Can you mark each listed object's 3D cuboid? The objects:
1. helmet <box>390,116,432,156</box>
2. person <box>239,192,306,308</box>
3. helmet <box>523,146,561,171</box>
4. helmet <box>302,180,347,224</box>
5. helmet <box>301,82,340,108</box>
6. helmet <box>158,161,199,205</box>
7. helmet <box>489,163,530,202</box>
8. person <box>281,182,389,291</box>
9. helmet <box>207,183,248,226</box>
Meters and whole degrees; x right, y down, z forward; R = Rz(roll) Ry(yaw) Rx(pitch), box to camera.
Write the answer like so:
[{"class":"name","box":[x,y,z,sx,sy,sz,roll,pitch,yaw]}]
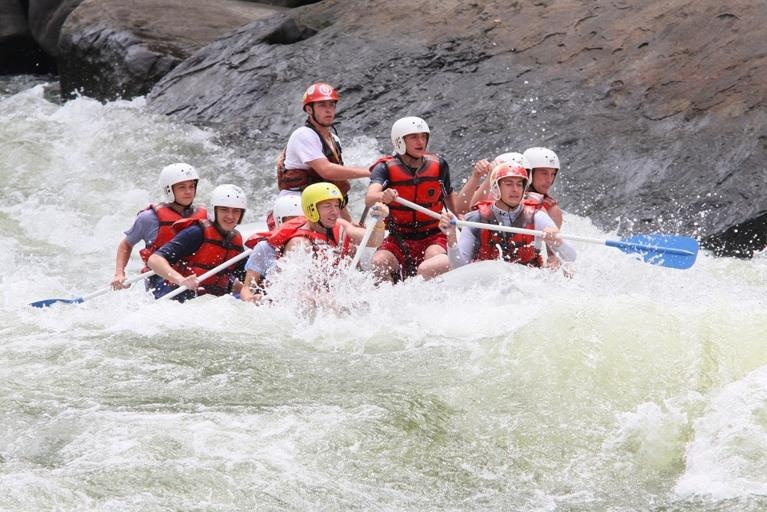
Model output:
[{"class":"helmet","box":[0.283,-1.389,11.079,0.396,0.315,0.480,-17,11,-33]},{"class":"person","box":[-1.185,-0.114,10.544,0.516,0.973,1.169,6,17,0]},{"class":"helmet","box":[1.835,-1.121,11.219,0.373,0.282,0.294,2,-4,42]},{"class":"helmet","box":[-0.665,-0.581,10.426,0.427,0.427,0.222,4,18,-5]},{"class":"helmet","box":[-0.811,-1.931,11.518,0.332,0.152,0.395,1,-5,-35]},{"class":"helmet","box":[-2.470,-0.886,11.562,0.560,0.385,0.420,1,2,40]},{"class":"helmet","box":[1.346,-0.815,10.664,0.383,0.339,0.464,-6,3,-35]},{"class":"person","box":[-0.683,-0.281,10.582,1.156,1.234,1.050,-2,14,24]},{"class":"helmet","box":[-1.745,-0.552,11.038,0.423,0.399,0.488,3,1,-16]}]
